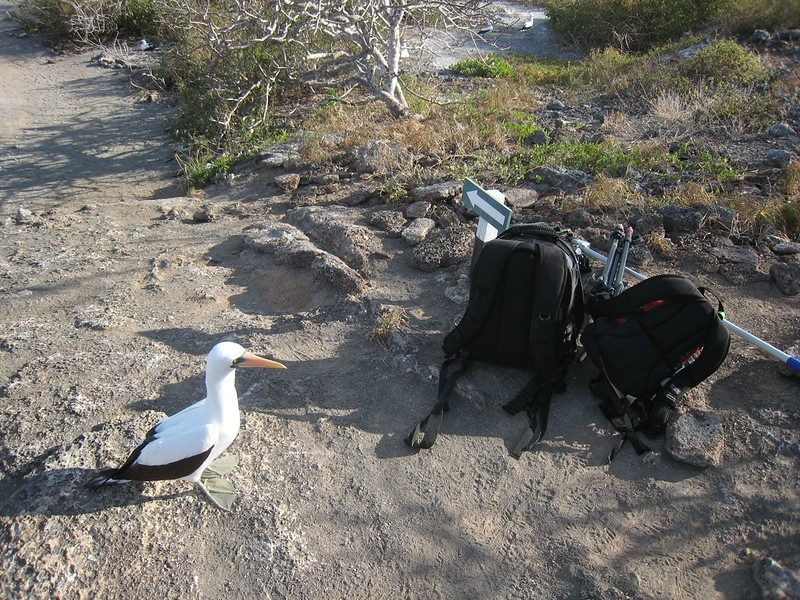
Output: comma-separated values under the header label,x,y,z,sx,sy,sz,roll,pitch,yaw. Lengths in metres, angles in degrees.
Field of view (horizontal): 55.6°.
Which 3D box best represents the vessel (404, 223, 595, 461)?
label,x,y,z,sx,sy,sz,roll,pitch,yaw
vessel,1.204,0.326,8.186,1.450,1.771,2.025,6,35,13
